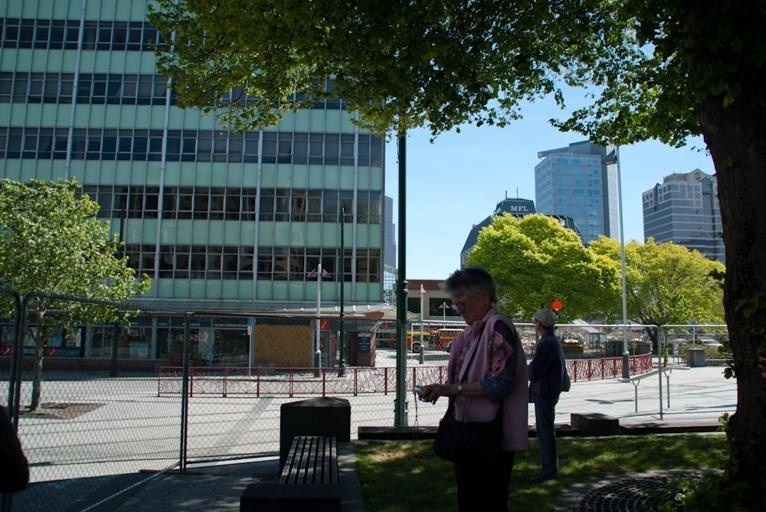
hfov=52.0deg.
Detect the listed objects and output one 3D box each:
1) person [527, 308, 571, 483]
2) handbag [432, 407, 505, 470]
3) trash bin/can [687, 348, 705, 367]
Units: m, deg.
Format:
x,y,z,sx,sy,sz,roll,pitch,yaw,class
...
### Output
x,y,z,sx,sy,sz,roll,pitch,yaw,class
2.946,2.457,14.074,0.602,3.032,0.606,-7,-11,31,person
1.295,2.666,11.455,1.189,1.264,0.706,-1,-21,12,handbag
15.897,5.183,40.030,0.853,1.219,0.846,1,-6,-8,trash bin/can
